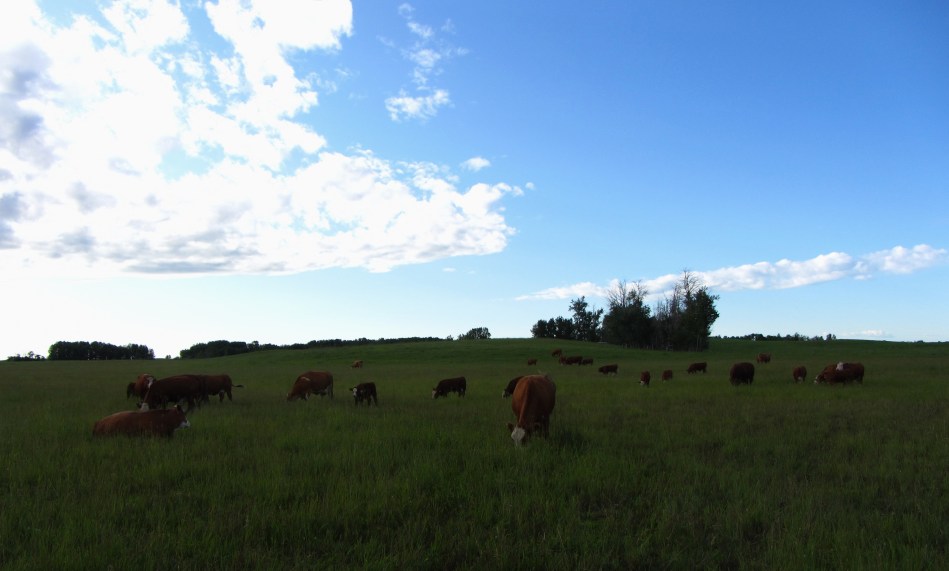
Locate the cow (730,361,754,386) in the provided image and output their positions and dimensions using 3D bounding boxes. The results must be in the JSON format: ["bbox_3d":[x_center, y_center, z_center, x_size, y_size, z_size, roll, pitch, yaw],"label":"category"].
[{"bbox_3d":[16.000,5.214,40.278,0.893,1.271,1.842,-7,-12,40],"label":"cow"}]

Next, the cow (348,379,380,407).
[{"bbox_3d":[-5.346,5.295,33.298,1.245,1.046,1.667,2,-9,-8],"label":"cow"}]

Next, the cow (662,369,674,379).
[{"bbox_3d":[12.488,5.755,43.715,0.574,0.714,1.726,-2,-10,17],"label":"cow"}]

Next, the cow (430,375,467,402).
[{"bbox_3d":[-1.333,5.446,36.478,1.510,1.090,2.319,-4,-10,27],"label":"cow"}]

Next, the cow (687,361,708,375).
[{"bbox_3d":[17.032,6.242,51.696,1.351,0.870,2.253,-2,-10,17],"label":"cow"}]

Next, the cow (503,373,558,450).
[{"bbox_3d":[2.205,4.698,25.921,1.649,2.545,3.265,0,-9,6],"label":"cow"}]

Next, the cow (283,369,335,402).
[{"bbox_3d":[-8.520,5.187,35.097,0.931,1.429,2.339,-8,-13,44],"label":"cow"}]

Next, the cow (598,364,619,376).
[{"bbox_3d":[10.250,6.360,51.482,1.101,0.697,1.771,-6,-12,38],"label":"cow"}]
